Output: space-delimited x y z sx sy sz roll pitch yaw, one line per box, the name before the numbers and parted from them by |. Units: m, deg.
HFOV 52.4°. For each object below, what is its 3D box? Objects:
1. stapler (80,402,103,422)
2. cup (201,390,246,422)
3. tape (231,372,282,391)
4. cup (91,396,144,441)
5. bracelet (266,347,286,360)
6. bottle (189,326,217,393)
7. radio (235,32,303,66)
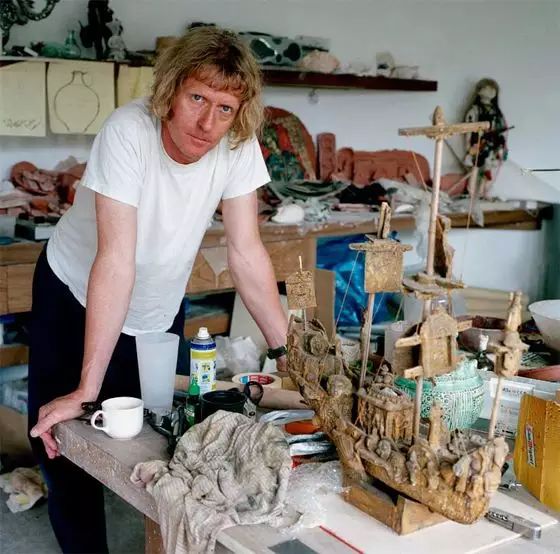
stapler | -0.509 0.356 1.519 0.064 0.058 0.039 0 46 -15
cup | -0.150 0.325 1.448 0.092 0.055 0.075 3 7 0
tape | -0.076 0.351 1.959 0.115 0.033 0.103 2 3 3
cup | -0.402 0.349 1.450 0.146 0.078 0.088 -7 15 -31
bracelet | -0.006 0.221 1.647 0.048 0.026 0.057 -4 0 -1
bottle | -0.224 0.240 1.685 0.088 0.181 0.091 2 4 0
radio | -0.121 -1.645 4.233 0.393 0.164 0.459 -7 14 -30
